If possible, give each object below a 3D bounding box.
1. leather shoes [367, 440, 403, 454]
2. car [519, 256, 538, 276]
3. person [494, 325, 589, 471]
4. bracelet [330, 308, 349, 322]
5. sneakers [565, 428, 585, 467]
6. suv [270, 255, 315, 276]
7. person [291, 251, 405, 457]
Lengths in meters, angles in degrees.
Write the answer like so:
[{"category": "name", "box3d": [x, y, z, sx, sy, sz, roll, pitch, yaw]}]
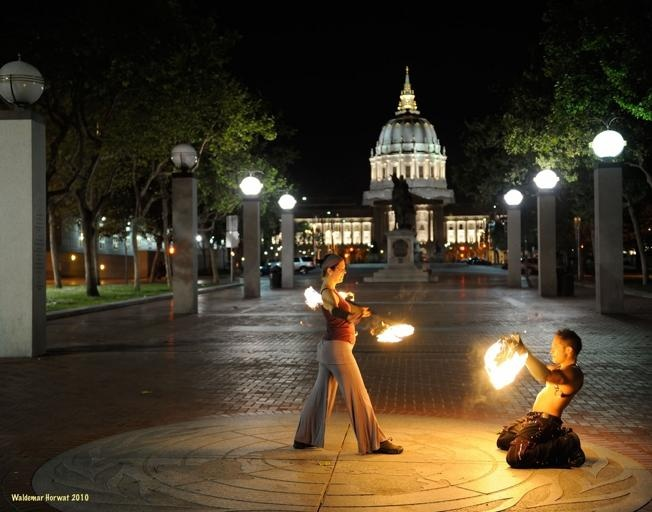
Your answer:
[{"category": "leather shoes", "box3d": [0.643, 1.932, 5.926, 0.265, 0.122, 0.143, -3, -4, 1]}, {"category": "car", "box3d": [17.777, 0.811, 50.773, 1.682, 0.916, 2.775, 0, 5, 14]}, {"category": "person", "box3d": [2.118, 1.499, 6.324, 1.100, 1.823, 1.245, 2, -10, 15]}, {"category": "bracelet", "box3d": [0.126, 0.578, 5.835, 0.120, 0.132, 0.134, 1, 0, 35]}, {"category": "sneakers", "box3d": [2.419, 1.840, 5.624, 0.119, 0.325, 0.232, -17, -10, 33]}, {"category": "suv", "box3d": [-4.124, 1.011, 70.422, 4.932, 2.103, 2.357, 2, 1, -2]}, {"category": "person", "box3d": [0.159, 1.000, 6.145, 1.056, 2.029, 0.707, -1, -1, -5]}]
